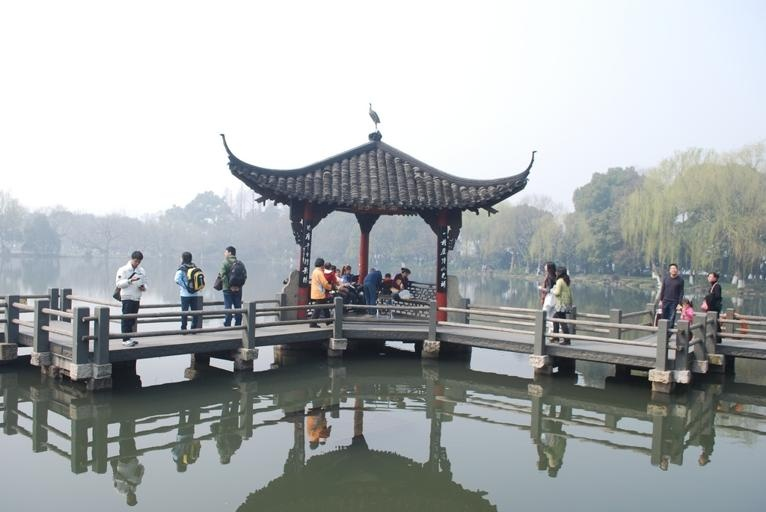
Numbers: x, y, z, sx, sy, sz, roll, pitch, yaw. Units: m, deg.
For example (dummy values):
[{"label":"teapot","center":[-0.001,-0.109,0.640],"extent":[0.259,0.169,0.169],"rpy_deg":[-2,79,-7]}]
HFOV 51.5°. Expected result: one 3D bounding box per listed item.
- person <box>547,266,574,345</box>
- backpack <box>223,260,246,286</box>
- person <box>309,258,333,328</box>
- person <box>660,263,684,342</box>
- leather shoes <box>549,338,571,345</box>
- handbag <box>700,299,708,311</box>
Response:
[{"label":"person","center":[4.644,1.293,20.671],"extent":[0.524,2.027,1.216],"rpy_deg":[1,1,13]},{"label":"backpack","center":[-3.906,0.471,21.061],"extent":[0.592,0.721,0.288],"rpy_deg":[0,1,-27]},{"label":"person","center":[-1.679,0.934,22.353],"extent":[0.604,1.768,0.707],"rpy_deg":[1,8,30]},{"label":"person","center":[7.567,1.008,20.780],"extent":[0.573,1.590,2.020],"rpy_deg":[1,1,20]},{"label":"leather shoes","center":[4.632,2.235,20.870],"extent":[0.301,0.103,0.201],"rpy_deg":[12,-17,-33]},{"label":"handbag","center":[8.730,1.328,21.405],"extent":[0.109,0.313,0.233],"rpy_deg":[3,-5,-1]}]
